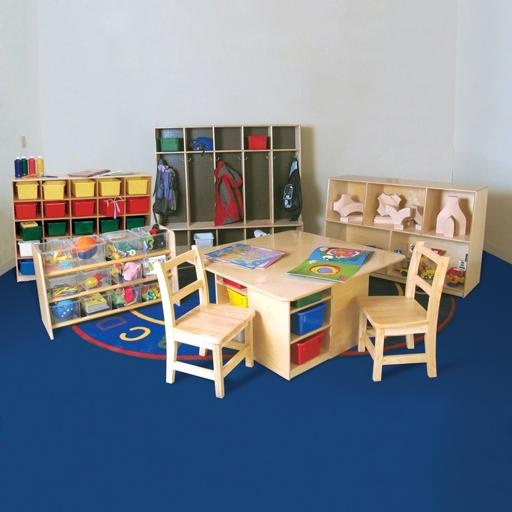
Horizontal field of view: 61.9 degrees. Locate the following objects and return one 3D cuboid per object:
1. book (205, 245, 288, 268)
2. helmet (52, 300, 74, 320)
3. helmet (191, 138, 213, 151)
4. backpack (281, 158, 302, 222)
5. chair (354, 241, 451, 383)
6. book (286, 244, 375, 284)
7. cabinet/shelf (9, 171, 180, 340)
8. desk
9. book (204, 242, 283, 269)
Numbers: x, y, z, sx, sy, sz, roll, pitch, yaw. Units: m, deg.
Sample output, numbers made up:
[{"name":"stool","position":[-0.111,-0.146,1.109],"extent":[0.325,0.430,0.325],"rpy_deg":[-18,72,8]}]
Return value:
[{"name":"book","position":[-0.067,0.011,3.020],"extent":[0.270,0.041,0.255],"rpy_deg":[12,21,35]},{"name":"helmet","position":[-1.519,0.428,3.404],"extent":[0.144,0.150,0.135],"rpy_deg":[3,13,15]},{"name":"helmet","position":[-0.654,-1.347,5.150],"extent":[0.205,0.119,0.153],"rpy_deg":[-4,15,-11]},{"name":"backpack","position":[0.455,-0.842,5.426],"extent":[0.249,0.799,0.338],"rpy_deg":[0,14,3]},{"name":"chair","position":[0.919,0.328,2.753],"extent":[0.525,0.813,0.684],"rpy_deg":[5,16,23]},{"name":"book","position":[0.497,0.057,2.868],"extent":[0.239,0.046,0.427],"rpy_deg":[8,24,27]},{"name":"cabinet/shelf","position":[-1.531,-0.123,3.919],"extent":[1.743,1.261,1.338],"rpy_deg":[-16,24,-41]},{"name":"desk","position":[0.313,0.238,2.923],"extent":[0.977,0.591,0.985],"rpy_deg":[-18,25,-41]},{"name":"book","position":[-0.070,0.002,3.048],"extent":[0.273,0.040,0.258],"rpy_deg":[13,22,37]}]
